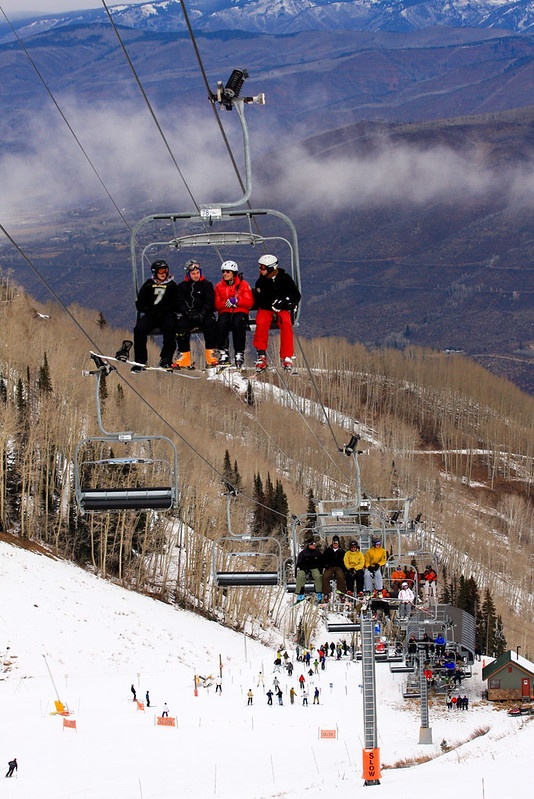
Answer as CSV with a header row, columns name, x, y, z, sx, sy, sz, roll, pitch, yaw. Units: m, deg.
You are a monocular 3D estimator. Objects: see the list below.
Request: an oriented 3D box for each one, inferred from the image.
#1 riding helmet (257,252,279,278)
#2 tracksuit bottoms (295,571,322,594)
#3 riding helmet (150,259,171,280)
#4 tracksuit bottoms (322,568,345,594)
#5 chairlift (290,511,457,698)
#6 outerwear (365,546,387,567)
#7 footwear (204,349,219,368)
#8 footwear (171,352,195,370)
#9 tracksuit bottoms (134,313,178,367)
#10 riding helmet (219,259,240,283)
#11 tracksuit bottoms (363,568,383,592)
name,x,y,z,sx,sy,sz,roll,pitch,yaw
riding helmet,-0.008,-2.683,22.417,0.397,0.511,0.353,9,5,6
tracksuit bottoms,0.963,4.158,25.841,0.513,0.529,0.533,1,9,3
riding helmet,-2.077,-2.572,22.175,0.289,0.442,0.409,-5,-5,-26
tracksuit bottoms,1.559,4.129,26.018,0.513,0.750,0.532,0,-30,0
chairlift,3.698,8.008,41.337,4.993,10.883,2.995,3,21,16
outerwear,2.558,3.651,26.415,0.492,0.665,0.374,1,-33,7
footwear,-1.092,-0.800,21.708,0.198,0.294,0.661,7,3,-12
footwear,-1.545,-0.743,21.649,0.547,0.451,0.197,3,3,17
tracksuit bottoms,-2.180,-1.132,21.859,0.880,1.418,0.911,3,-11,-9
riding helmet,-0.768,-2.532,22.127,0.287,0.454,0.419,0,1,13
tracksuit bottoms,2.454,4.129,25.974,0.466,0.782,0.484,1,-27,-1
